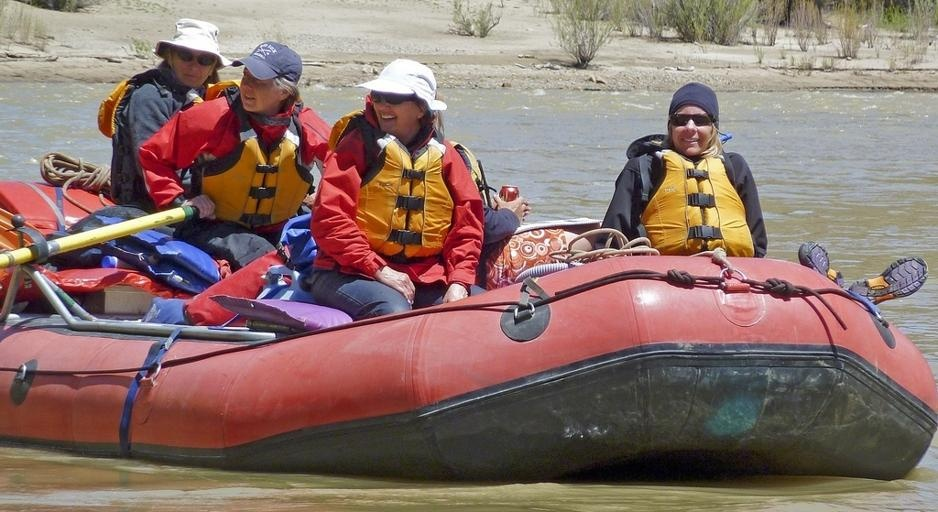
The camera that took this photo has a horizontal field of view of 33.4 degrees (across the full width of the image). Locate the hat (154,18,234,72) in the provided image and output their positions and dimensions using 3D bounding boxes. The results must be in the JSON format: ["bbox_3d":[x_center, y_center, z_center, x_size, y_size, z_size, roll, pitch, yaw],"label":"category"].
[{"bbox_3d":[-3.448,-2.707,20.004,1.018,0.399,0.806,4,3,17],"label":"hat"}]

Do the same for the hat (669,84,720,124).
[{"bbox_3d":[2.749,-1.833,18.960,0.622,0.383,0.537,8,-14,3],"label":"hat"}]
